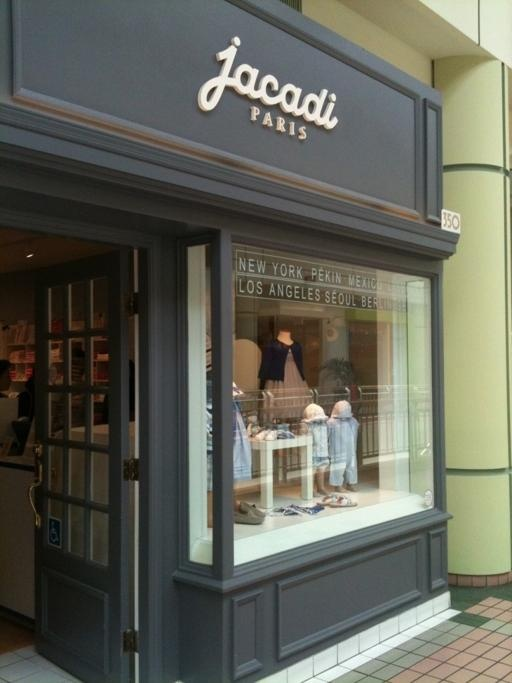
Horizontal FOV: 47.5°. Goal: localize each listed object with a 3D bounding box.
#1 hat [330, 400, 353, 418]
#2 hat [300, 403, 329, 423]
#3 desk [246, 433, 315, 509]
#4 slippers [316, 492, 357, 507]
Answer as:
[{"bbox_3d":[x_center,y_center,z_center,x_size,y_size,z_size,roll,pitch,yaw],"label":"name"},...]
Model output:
[{"bbox_3d":[0.488,0.377,3.341,0.120,0.115,0.078,-5,4,-32],"label":"hat"},{"bbox_3d":[0.315,0.383,3.143,0.079,0.081,0.112,-2,0,3],"label":"hat"},{"bbox_3d":[0.106,0.644,2.897,0.209,0.424,0.408,-2,-1,37],"label":"desk"},{"bbox_3d":[0.458,0.889,3.260,0.344,0.073,0.022,15,-10,-43],"label":"slippers"}]
